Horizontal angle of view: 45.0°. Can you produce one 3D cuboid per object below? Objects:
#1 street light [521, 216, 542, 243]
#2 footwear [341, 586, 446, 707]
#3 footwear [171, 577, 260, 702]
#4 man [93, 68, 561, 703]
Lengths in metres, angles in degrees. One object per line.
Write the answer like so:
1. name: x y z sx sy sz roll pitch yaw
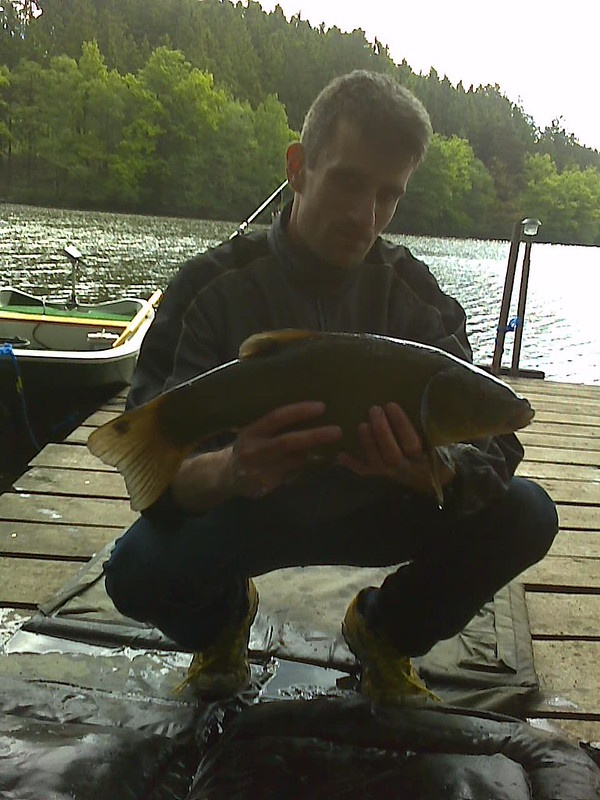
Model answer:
1. street light: 1.674 -1.237 5.222 0.148 0.122 0.140 4 6 14
2. footwear: 0.189 0.609 1.764 0.178 0.102 0.256 -18 68 -45
3. footwear: -0.188 0.589 1.774 0.104 0.105 0.286 9 28 15
4. man: 0.043 -0.012 1.756 1.186 1.335 0.812 6 -3 2
